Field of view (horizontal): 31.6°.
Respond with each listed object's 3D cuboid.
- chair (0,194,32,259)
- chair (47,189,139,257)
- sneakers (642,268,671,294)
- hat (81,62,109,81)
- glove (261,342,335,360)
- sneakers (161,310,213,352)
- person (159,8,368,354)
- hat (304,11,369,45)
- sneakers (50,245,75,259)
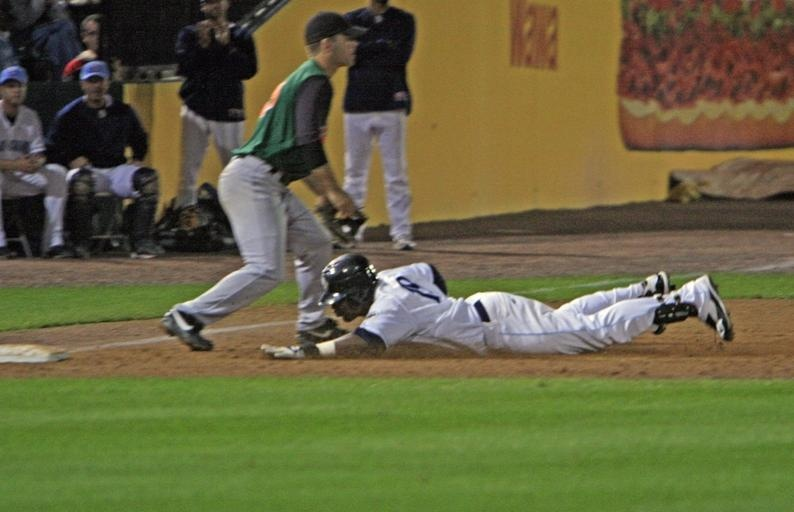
[{"bbox_3d":[-3.835,-0.282,14.198,0.296,0.583,0.313,0,4,-4],"label":"chair"},{"bbox_3d":[-3.235,-0.376,14.896,0.946,0.976,0.727,0,8,-6],"label":"chair"},{"bbox_3d":[2.145,0.219,11.636,0.224,0.167,0.244,6,9,21],"label":"sneakers"},{"bbox_3d":[-3.080,-1.896,14.321,0.274,0.225,0.375,0,3,-12],"label":"hat"},{"bbox_3d":[-0.770,0.758,11.220,0.699,0.113,0.186,0,1,4],"label":"glove"},{"bbox_3d":[-1.683,0.595,11.373,0.509,0.247,0.217,30,-16,-9],"label":"sneakers"},{"bbox_3d":[-0.971,-0.606,11.284,1.447,2.697,0.507,0,4,-11],"label":"person"},{"bbox_3d":[-0.495,-1.831,11.288,0.478,0.284,0.209,0,3,-2],"label":"hat"},{"bbox_3d":[-3.400,-0.053,14.238,0.261,0.135,0.072,0,4,-9],"label":"sneakers"}]
